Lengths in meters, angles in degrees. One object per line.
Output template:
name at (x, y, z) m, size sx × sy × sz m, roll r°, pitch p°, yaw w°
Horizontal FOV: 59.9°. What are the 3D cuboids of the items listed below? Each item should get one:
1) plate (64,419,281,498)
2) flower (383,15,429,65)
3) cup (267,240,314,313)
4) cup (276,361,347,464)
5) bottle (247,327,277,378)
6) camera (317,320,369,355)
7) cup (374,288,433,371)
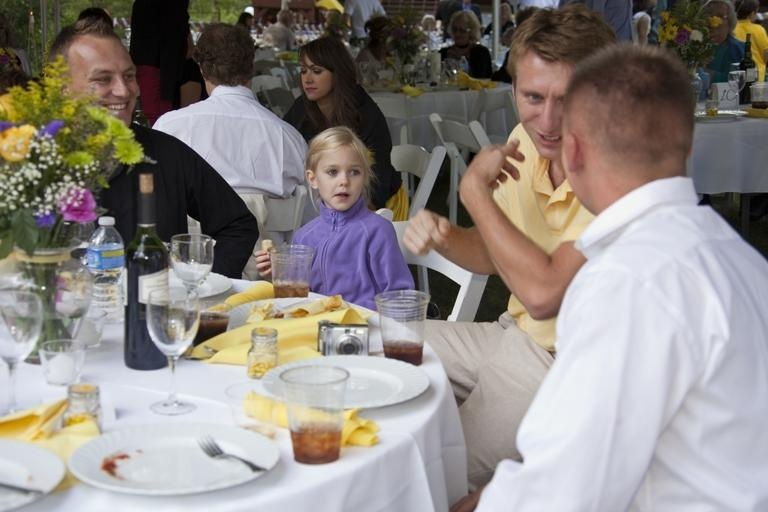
plate at (-0.411, 0.396, 1.324) m, size 0.400 × 0.071 × 0.189 m, roll 0°, pitch 6°, yaw -1°
flower at (0.233, -2.468, 7.537) m, size 0.521 × 0.653 × 0.600 m, roll -1°, pitch 16°, yaw 5°
cup at (-0.268, 0.049, 2.152) m, size 0.164 × 0.205 × 0.151 m, roll 0°, pitch 1°, yaw 0°
cup at (-0.170, 0.325, 1.399) m, size 0.197 × 0.186 × 0.111 m, roll 3°, pitch 7°, yaw 28°
bottle at (-0.311, 0.266, 1.678) m, size 0.077 × 0.123 × 0.075 m, roll -4°, pitch -32°, yaw -2°
camera at (-0.112, 0.227, 1.802) m, size 0.143 × 0.102 × 0.090 m, roll 0°, pitch 12°, yaw 2°
cup at (0.049, 0.184, 1.755) m, size 0.166 × 0.201 × 0.177 m, roll -4°, pitch 7°, yaw 0°
